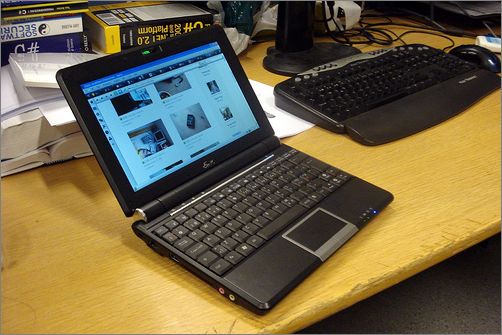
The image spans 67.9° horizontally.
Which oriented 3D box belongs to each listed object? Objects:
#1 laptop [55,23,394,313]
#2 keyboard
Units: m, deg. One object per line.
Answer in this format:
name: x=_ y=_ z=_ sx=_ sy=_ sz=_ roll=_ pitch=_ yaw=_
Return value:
laptop: x=-0.006 y=-0.019 z=0.633 sx=0.476 sy=0.211 sz=0.486 roll=-24 pitch=60 yaw=-40
keyboard: x=0.305 y=-0.180 z=0.906 sx=0.475 sy=0.074 sz=0.306 roll=-20 pitch=42 yaw=-29
